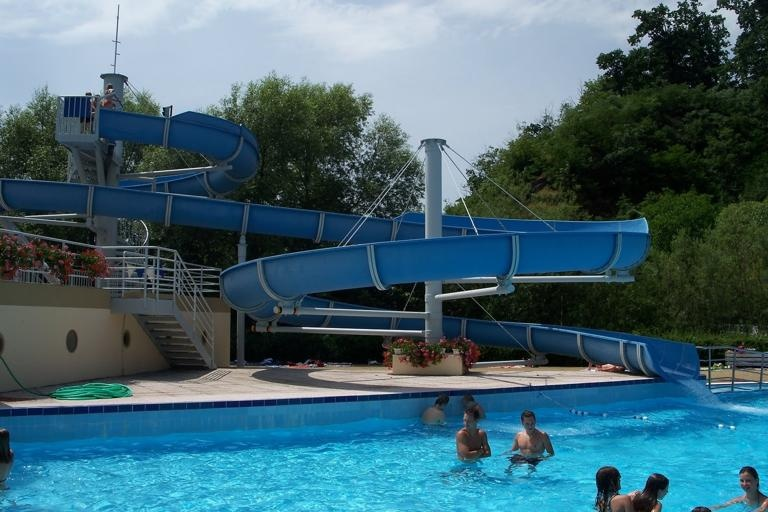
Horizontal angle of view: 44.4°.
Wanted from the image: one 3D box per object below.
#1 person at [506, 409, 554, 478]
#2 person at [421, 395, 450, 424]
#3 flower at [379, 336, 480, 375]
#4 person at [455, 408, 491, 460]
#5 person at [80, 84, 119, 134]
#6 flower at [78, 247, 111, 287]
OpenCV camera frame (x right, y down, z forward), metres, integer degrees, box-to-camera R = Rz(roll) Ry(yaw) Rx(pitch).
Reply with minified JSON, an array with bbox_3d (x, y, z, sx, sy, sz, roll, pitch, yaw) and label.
[{"bbox_3d":[3.593,4.545,23.058,1.041,1.419,0.743,-4,-12,13],"label":"person"},{"bbox_3d":[1.392,4.109,25.100,0.707,0.765,0.237,-7,-13,27],"label":"person"},{"bbox_3d":[1.601,3.074,28.992,2.551,1.171,0.606,0,-12,-4],"label":"flower"},{"bbox_3d":[2.221,4.385,23.109,0.811,1.243,0.590,-1,-12,3],"label":"person"},{"bbox_3d":[-9.291,-4.907,30.860,0.819,2.055,1.368,-3,-12,11],"label":"person"},{"bbox_3d":[-8.466,0.310,27.836,0.955,1.096,0.958,-3,4,-7],"label":"flower"}]
